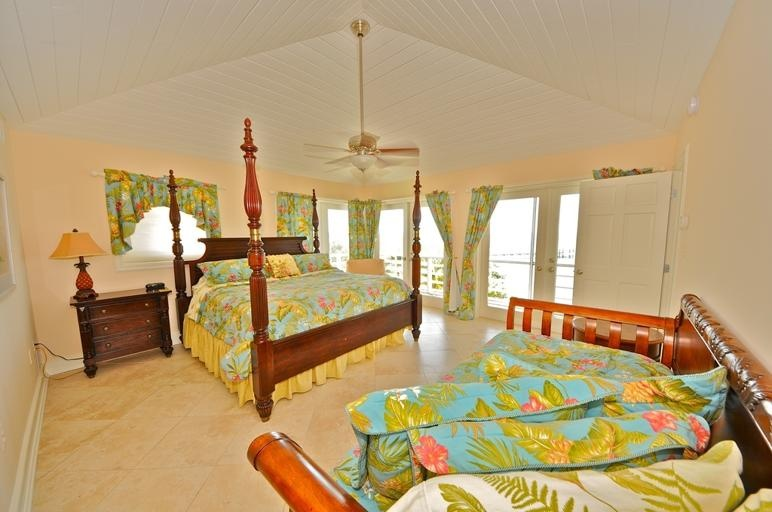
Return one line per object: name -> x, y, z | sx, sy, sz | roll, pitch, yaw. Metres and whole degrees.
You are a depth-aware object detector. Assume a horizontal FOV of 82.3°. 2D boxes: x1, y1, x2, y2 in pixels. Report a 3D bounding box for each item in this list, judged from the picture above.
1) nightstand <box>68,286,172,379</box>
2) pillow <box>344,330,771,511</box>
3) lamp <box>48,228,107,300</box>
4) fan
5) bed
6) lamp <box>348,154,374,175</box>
nightstand -> -2.811, 0.946, 4.829 | 0.884, 0.828, 0.561 | -8, -27, -32
pillow -> 0.958, 0.867, 2.859 | 1.272, 0.564, 1.289 | -4, 15, 14
lamp -> -3.160, 0.085, 4.533 | 0.450, 0.729, 0.464 | -7, 9, -36
fan -> -0.263, -1.484, 4.838 | 1.237, 1.460, 1.266 | -1, -4, 6
bed -> -1.116, 0.006, 5.279 | 2.061, 2.634, 2.722 | 8, 11, 35
lamp -> -0.229, -0.961, 4.372 | 0.242, 0.158, 0.246 | 0, -10, 1
